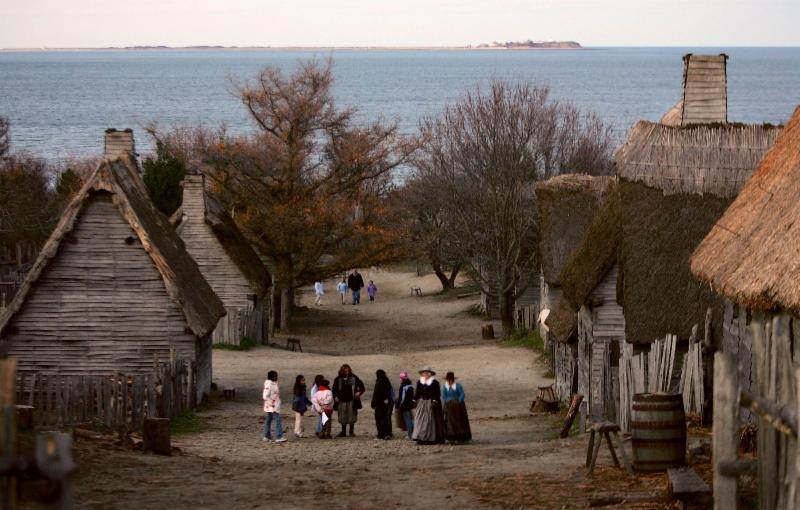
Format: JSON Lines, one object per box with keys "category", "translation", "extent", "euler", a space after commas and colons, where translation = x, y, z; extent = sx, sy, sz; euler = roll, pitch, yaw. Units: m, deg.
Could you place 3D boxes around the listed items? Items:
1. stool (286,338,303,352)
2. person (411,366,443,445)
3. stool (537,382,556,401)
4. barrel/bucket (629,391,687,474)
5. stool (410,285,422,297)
{"category": "stool", "translation": [-4.825, 4.071, 63.058], "extent": [0.693, 0.923, 0.653], "euler": [-1, 4, 2]}
{"category": "person", "translation": [0.835, 4.747, 44.219], "extent": [0.998, 2.346, 0.641], "euler": [-2, 7, -1]}
{"category": "stool", "translation": [5.436, 5.091, 51.961], "extent": [0.753, 0.775, 0.548], "euler": [-4, 6, 6]}
{"category": "barrel/bucket", "translation": [7.099, 4.928, 38.958], "extent": [1.550, 2.159, 1.397], "euler": [0, 0, -2]}
{"category": "stool", "translation": [0.918, 2.295, 86.112], "extent": [0.316, 0.707, 1.215], "euler": [-2, -9, 8]}
